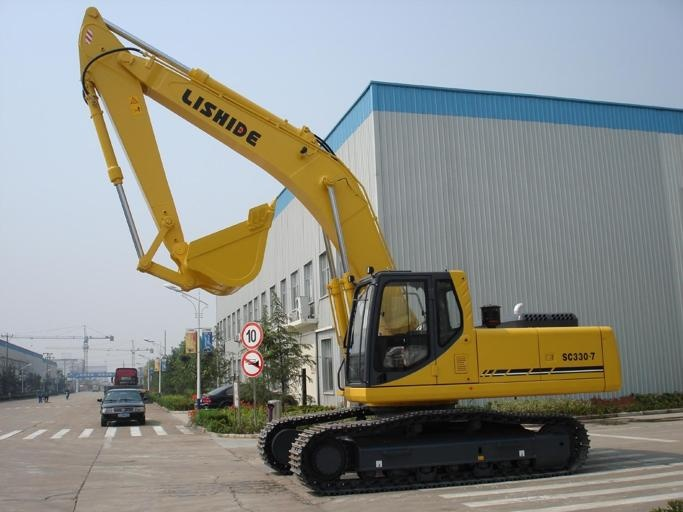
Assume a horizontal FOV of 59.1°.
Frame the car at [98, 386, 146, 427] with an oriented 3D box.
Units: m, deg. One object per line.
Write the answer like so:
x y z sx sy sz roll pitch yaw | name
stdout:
-9.330 6.409 25.762 1.274 0.932 2.358 1 -16 -13 | car

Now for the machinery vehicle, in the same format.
0.205 -0.221 11.533 8.946 9.411 1.918 -2 -8 -20 | machinery vehicle
